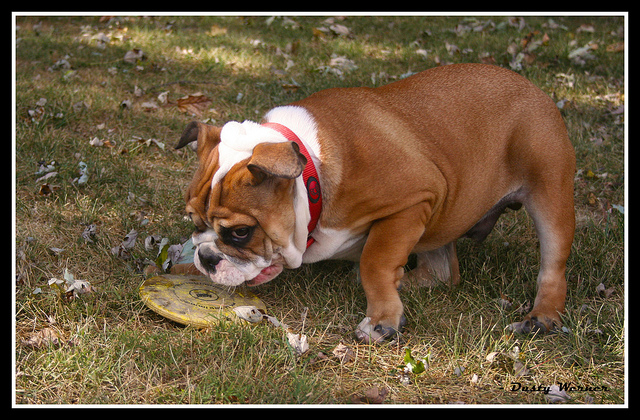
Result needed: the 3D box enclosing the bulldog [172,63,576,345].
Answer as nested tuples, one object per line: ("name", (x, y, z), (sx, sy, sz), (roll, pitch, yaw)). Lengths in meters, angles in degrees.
("bulldog", (-0.297, -0.362, 5.158), (4.393, 2.003, 1.519), (-7, 15, -17))
